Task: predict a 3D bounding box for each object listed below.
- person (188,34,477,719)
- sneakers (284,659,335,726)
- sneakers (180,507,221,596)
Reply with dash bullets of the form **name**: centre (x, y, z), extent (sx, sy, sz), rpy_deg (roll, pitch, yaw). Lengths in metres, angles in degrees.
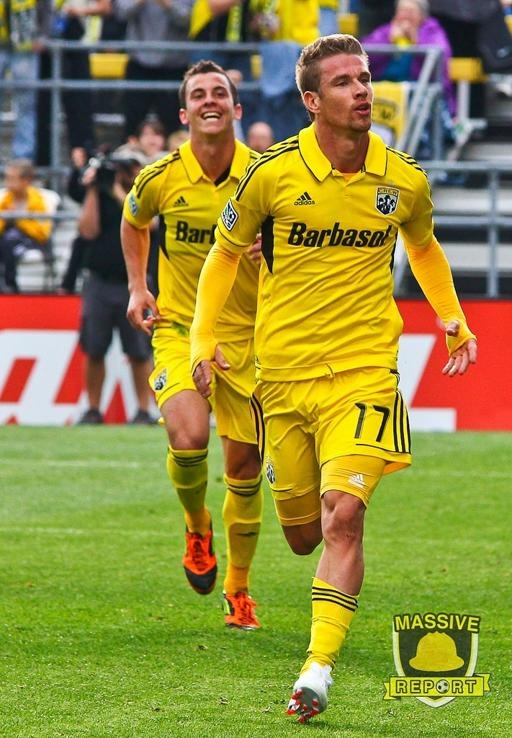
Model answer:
- **person**: centre (0.205, -0.056, 3.177), extent (0.649, 1.728, 0.781), rpy_deg (0, 4, -14)
- **sneakers**: centre (0.122, 0.745, 2.791), extent (0.092, 0.052, 0.142), rpy_deg (39, 35, -4)
- **sneakers**: centre (-0.199, 0.667, 4.286), extent (0.101, 0.250, 0.110), rpy_deg (-4, -22, -1)
